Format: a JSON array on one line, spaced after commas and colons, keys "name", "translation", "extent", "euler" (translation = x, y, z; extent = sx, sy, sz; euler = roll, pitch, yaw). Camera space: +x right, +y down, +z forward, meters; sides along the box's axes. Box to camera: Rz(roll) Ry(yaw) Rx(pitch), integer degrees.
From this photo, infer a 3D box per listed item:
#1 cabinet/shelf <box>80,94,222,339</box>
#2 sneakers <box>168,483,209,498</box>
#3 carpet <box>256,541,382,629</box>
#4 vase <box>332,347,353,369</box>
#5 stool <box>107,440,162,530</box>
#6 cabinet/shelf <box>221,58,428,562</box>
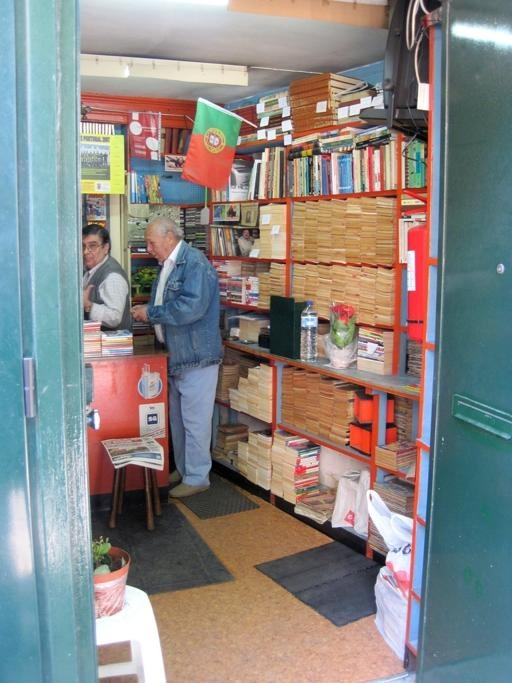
[{"name": "cabinet/shelf", "translation": [-1.136, -1.657, 6.575], "extent": [2.915, 2.686, 0.942], "euler": [24, 36, 36]}, {"name": "sneakers", "translation": [-0.556, 1.195, 4.351], "extent": [0.274, 0.108, 0.102], "euler": [0, 6, -29]}, {"name": "carpet", "translation": [0.462, 1.386, 3.108], "extent": [0.639, 0.022, 0.751], "euler": [-3, 6, -36]}, {"name": "vase", "translation": [0.580, 0.105, 3.613], "extent": [0.144, 0.138, 0.140], "euler": [0, 3, 2]}, {"name": "stool", "translation": [-0.866, 0.965, 3.640], "extent": [0.426, 0.515, 0.451], "euler": [4, 5, -22]}, {"name": "cabinet/shelf", "translation": [0.561, -0.050, 3.641], "extent": [0.415, 2.649, 1.649], "euler": [-2, 6, -30]}]
